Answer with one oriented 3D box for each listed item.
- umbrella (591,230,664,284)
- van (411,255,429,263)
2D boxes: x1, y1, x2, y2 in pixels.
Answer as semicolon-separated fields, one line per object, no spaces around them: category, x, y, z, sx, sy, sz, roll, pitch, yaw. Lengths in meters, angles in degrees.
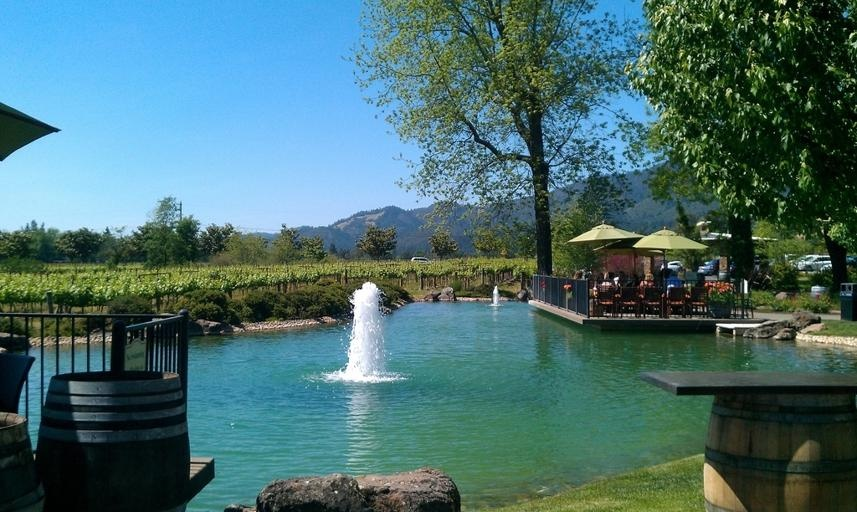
umbrella;8.378;0.080;30.056;2.579;1.889;2.742;-2;6;-3
van;-1.695;0.444;129.129;3.285;1.179;2.054;-5;-3;31
